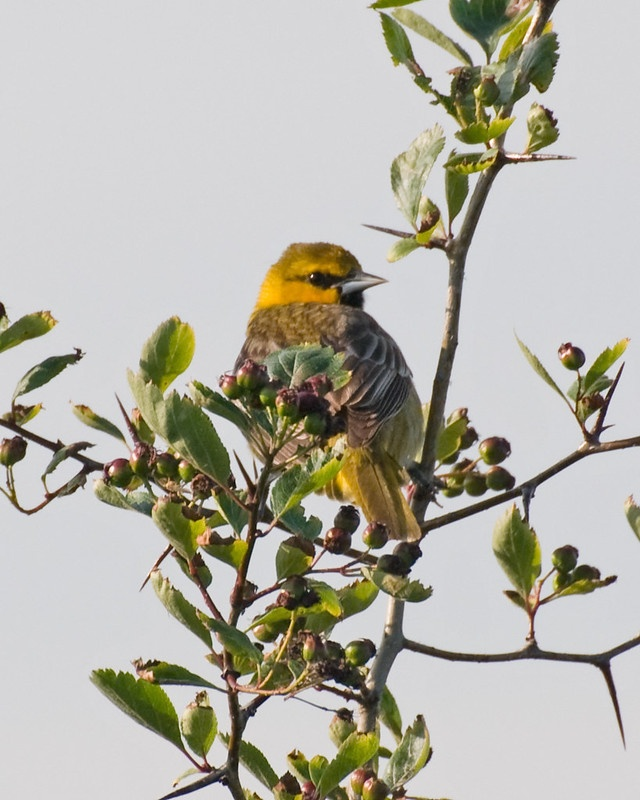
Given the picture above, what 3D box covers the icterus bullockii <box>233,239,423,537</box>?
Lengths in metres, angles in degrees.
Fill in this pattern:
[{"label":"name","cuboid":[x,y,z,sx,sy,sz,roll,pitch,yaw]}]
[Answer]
[{"label":"icterus bullockii","cuboid":[0.075,-0.005,5.730,0.595,1.167,0.910,-16,-14,-8]}]
